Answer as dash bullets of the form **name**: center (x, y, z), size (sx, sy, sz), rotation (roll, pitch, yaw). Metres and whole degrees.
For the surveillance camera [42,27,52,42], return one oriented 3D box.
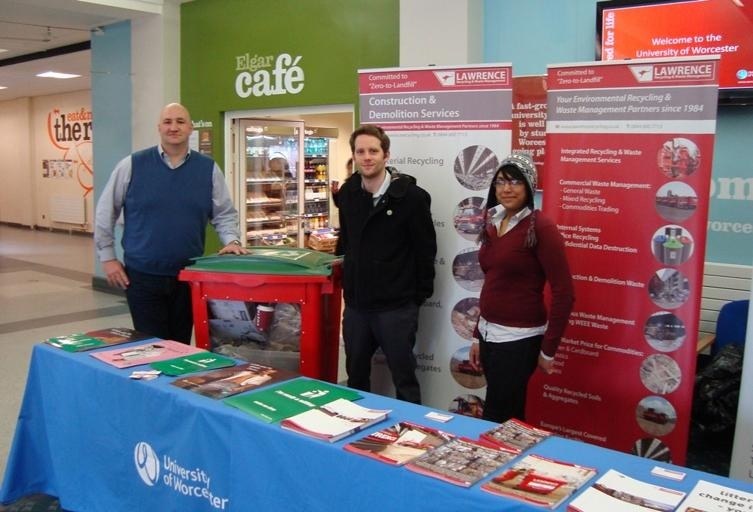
- **surveillance camera**: center (-5.478, -3.715, 8.758), size (0.139, 0.211, 0.101), rotation (0, 11, -6)

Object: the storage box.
- **storage box**: center (-0.846, 0.512, 3.978), size (1.134, 1.099, 0.792), rotation (2, 12, 0)

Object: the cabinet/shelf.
- **cabinet/shelf**: center (-1.323, -1.051, 8.274), size (0.549, 1.971, 2.037), rotation (7, 12, 21)

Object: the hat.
- **hat**: center (0.805, -0.355, 3.204), size (0.257, 0.564, 0.565), rotation (-3, 12, -27)
